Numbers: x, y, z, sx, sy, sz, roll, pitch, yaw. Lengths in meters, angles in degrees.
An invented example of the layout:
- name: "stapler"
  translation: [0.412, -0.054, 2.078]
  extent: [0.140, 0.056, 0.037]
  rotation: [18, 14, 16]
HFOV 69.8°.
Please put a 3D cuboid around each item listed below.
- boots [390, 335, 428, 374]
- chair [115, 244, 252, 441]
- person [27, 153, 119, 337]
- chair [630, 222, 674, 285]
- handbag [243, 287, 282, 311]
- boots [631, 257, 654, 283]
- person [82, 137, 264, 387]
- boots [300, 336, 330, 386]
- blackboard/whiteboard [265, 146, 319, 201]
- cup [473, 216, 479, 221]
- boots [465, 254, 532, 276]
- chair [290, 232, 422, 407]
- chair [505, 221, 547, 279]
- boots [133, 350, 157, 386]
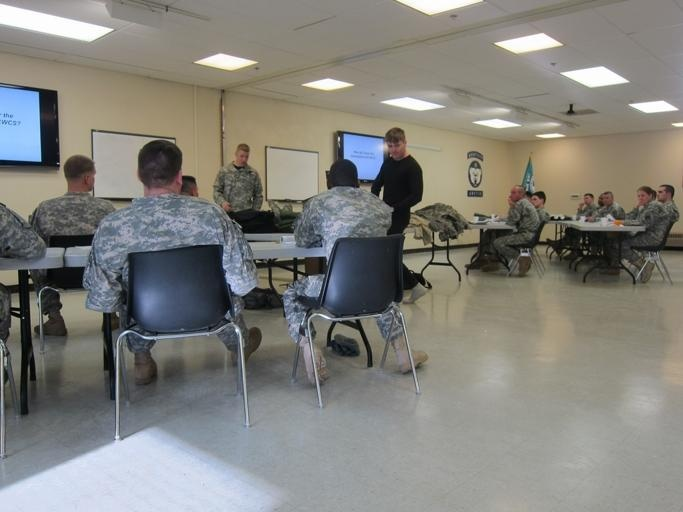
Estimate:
- name: "boots"
  translation: [0.480, 0.673, 3.506]
  extent: [0.262, 0.259, 0.118]
  rotation: [-6, -9, -41]
- name: "chair"
  translation: [-0.925, 0.435, 2.828]
  extent: [0.700, 1.015, 0.652]
  rotation: [-3, 6, -18]
- name: "person"
  translation: [-2.223, -0.080, 4.206]
  extent: [0.788, 1.423, 0.788]
  rotation: [2, 2, 33]
- name: "chair"
  translation: [4.667, -0.071, 7.337]
  extent: [0.620, 0.925, 0.586]
  rotation: [1, 3, 17]
- name: "handbag"
  translation: [-0.871, 0.492, 5.453]
  extent: [0.287, 0.131, 0.351]
  rotation: [-3, -3, 34]
- name: "boots"
  translation: [4.527, 0.204, 7.371]
  extent: [0.151, 0.366, 0.122]
  rotation: [16, 4, 13]
- name: "person"
  translation: [-0.969, 0.089, 2.911]
  extent: [1.003, 1.373, 0.763]
  rotation: [-8, 7, -25]
- name: "boots"
  translation: [-0.194, 0.695, 3.190]
  extent: [0.103, 0.335, 0.171]
  rotation: [-7, 7, 29]
- name: "blackboard/whiteboard"
  translation: [-0.917, -1.556, 9.347]
  extent: [1.277, 0.992, 0.074]
  rotation: [9, 17, 30]
- name: "cup"
  translation: [2.331, -0.658, 8.546]
  extent: [0.081, 0.112, 0.114]
  rotation: [2, -3, -13]
- name: "boots"
  translation: [2.615, 0.150, 8.479]
  extent: [0.736, 0.278, 0.485]
  rotation: [-1, -1, 10]
- name: "chair"
  translation: [0.073, 0.373, 3.233]
  extent: [0.766, 1.007, 0.711]
  rotation: [-2, 5, -16]
- name: "chair"
  translation: [3.262, -0.195, 8.528]
  extent: [0.538, 0.931, 1.805]
  rotation: [3, 8, 23]
- name: "boots"
  translation: [-1.342, 0.703, 3.361]
  extent: [0.108, 0.282, 0.292]
  rotation: [2, 5, -12]
